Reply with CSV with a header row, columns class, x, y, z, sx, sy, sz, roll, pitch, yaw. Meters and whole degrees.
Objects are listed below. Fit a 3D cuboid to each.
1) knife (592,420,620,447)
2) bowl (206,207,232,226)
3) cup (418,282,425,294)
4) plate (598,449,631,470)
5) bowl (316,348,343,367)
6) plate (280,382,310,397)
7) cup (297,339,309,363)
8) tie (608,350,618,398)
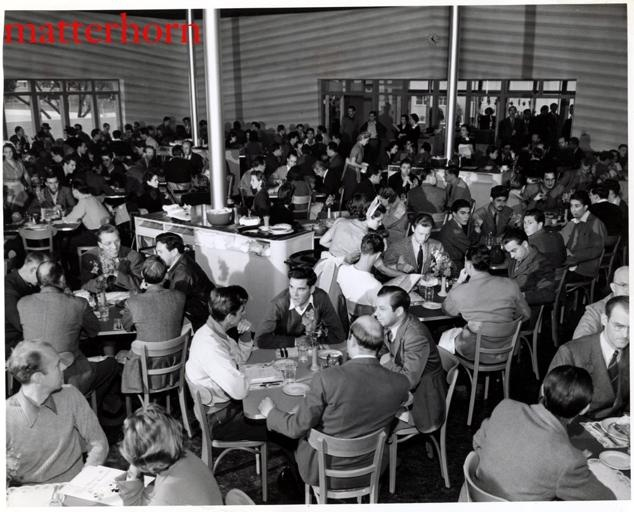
class,x,y,z,sx,sy,sz,roll,pitch,yaw
knife,1.693,1.009,3.191,0.121,0.022,0.119,-12,16,-22
bowl,-1.112,-0.452,6.298,0.212,0.143,0.214,0,11,0
cup,0.968,0.301,5.188,0.057,0.074,0.074,0,2,0
plate,1.604,1.089,2.974,0.169,0.045,0.144,-6,10,-32
bowl,0.087,0.699,3.890,0.187,0.077,0.255,0,9,2
plate,-0.147,0.838,3.525,0.162,0.034,0.177,-1,9,-6
cup,-0.106,0.664,3.937,0.115,0.151,0.125,0,-3,0
tie,1.861,0.729,3.477,0.091,0.297,0.036,-5,9,-27
